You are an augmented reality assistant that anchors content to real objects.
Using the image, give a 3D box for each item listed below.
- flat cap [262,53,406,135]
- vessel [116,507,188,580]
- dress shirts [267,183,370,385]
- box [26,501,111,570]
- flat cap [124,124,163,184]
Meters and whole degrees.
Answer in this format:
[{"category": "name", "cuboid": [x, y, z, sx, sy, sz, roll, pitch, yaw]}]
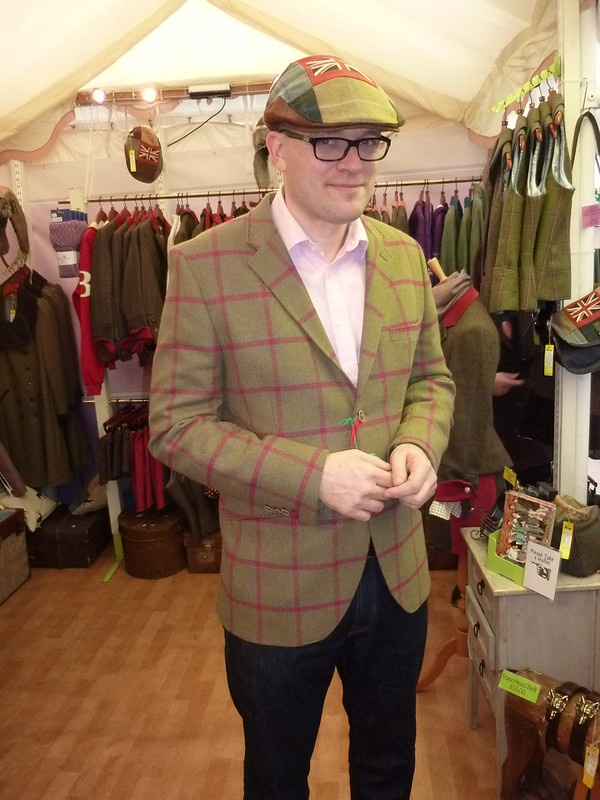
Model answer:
[{"category": "flat cap", "cuboid": [0.043, -0.431, 0.770, 0.141, 0.064, 0.163, -14, 36, -18]}, {"category": "vessel", "cuboid": [-0.841, 0.809, 3.289, 0.358, 0.301, 0.368, -1, 12, -4]}, {"category": "dress shirts", "cuboid": [0.016, -0.190, 1.011, 0.181, 0.330, 0.075, -18, 6, -32]}, {"category": "box", "cuboid": [-1.369, 0.902, 3.503, 0.508, 0.223, 0.399, -6, 1, 30]}, {"category": "flat cap", "cuboid": [-0.861, -1.387, 3.119, 0.237, 0.317, 0.089, -28, -2, -35]}]
